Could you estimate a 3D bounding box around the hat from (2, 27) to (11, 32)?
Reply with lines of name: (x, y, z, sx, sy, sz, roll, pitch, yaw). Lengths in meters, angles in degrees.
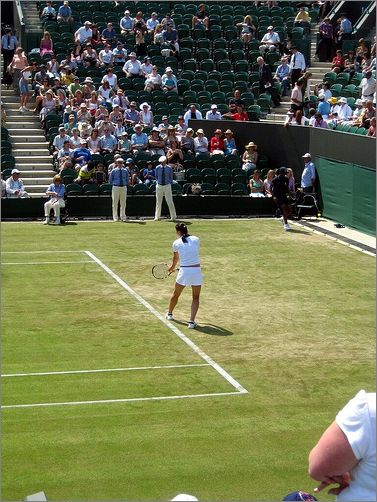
hat: (-6.260, -7.617, 30.050, 0.185, 0.176, 0.200, -7, 40, -20)

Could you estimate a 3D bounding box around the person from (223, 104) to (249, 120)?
person: (1.562, -4.509, 28.202, 0.745, 0.503, 1.144, -2, 12, -16)

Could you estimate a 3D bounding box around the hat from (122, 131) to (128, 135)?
hat: (-1.912, -3.474, 25.699, 0.283, 0.096, 0.361, -2, 6, -12)

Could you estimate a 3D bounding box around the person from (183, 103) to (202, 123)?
person: (0.122, -4.484, 28.613, 0.580, 0.671, 0.779, 1, 13, 0)

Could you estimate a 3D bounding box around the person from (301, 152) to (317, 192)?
person: (3.365, -2.177, 24.467, 0.410, 1.095, 0.476, 3, 14, 6)

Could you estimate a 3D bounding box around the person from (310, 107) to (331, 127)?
person: (3.761, -3.812, 25.107, 0.607, 0.517, 1.411, 3, 12, 8)

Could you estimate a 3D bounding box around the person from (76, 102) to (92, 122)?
person: (-3.174, -4.171, 26.360, 0.444, 0.620, 0.775, 0, 13, -6)

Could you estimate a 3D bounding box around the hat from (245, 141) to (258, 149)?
hat: (1.909, -3.242, 26.666, 0.408, 0.145, 0.418, 1, -14, 4)

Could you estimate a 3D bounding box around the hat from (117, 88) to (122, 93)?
hat: (-2.207, -5.065, 27.608, 0.161, 0.139, 0.197, 2, 22, 0)

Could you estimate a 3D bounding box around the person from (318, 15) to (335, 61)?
person: (4.983, -7.736, 31.862, 0.602, 1.535, 0.851, 4, 14, 8)

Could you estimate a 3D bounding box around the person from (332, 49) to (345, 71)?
person: (5.188, -6.600, 30.255, 0.447, 0.775, 1.256, 4, 13, 9)

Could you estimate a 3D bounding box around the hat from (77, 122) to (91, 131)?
hat: (-3.094, -3.664, 25.705, 0.407, 0.336, 0.101, -2, -10, 4)

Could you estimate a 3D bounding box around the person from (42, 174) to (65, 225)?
person: (-3.543, -1.336, 22.812, 0.527, 1.304, 0.433, 2, 14, 1)

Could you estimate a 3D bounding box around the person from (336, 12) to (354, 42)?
person: (5.726, -8.238, 32.080, 0.595, 1.009, 1.007, 4, 13, 8)

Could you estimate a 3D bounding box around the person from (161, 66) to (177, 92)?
person: (-0.633, -5.875, 29.828, 0.617, 0.842, 0.683, -2, 14, -13)

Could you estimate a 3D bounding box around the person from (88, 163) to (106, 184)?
person: (-2.582, -2.154, 24.367, 0.572, 0.714, 0.444, -4, 26, -16)

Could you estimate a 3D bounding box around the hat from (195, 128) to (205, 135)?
hat: (0.331, -3.658, 26.669, 0.229, 0.098, 0.283, 2, 3, 4)

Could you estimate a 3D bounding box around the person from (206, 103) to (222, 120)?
person: (0.808, -4.576, 28.629, 0.526, 0.458, 0.966, 1, 12, 0)

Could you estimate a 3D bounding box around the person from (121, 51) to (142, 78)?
person: (-1.965, -6.487, 30.336, 0.634, 0.856, 0.475, -2, 14, -14)

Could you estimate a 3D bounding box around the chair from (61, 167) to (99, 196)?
chair: (-2.985, -1.890, 24.014, 0.747, 0.844, 0.511, 23, -16, -24)

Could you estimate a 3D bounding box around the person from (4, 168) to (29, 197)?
person: (-4.599, -1.805, 23.173, 0.582, 0.735, 0.487, -1, 14, -10)

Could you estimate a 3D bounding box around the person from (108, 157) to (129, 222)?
person: (-1.904, -1.632, 23.366, 0.481, 1.754, 0.512, 0, 15, -5)

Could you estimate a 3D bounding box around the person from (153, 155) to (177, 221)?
person: (-0.625, -1.664, 23.514, 0.567, 1.807, 0.721, 1, 14, -1)

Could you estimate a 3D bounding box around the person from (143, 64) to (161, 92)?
person: (-1.262, -5.867, 29.650, 0.568, 0.849, 0.814, 3, 13, 7)

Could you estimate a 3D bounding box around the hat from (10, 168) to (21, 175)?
hat: (-4.633, -2.111, 23.073, 0.234, 0.099, 0.166, -9, -12, 42)

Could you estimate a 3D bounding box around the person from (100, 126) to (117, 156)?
person: (-2.361, -3.257, 25.606, 0.520, 0.782, 0.533, 0, 14, -6)

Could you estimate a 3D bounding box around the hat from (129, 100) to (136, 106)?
hat: (-1.781, -4.612, 27.256, 0.285, 0.100, 0.254, 1, 15, 1)

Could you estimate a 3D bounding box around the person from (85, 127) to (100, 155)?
person: (-2.803, -3.214, 25.382, 0.386, 0.707, 0.697, 0, 13, -7)

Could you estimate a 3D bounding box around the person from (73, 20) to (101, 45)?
person: (-3.663, -7.819, 31.218, 0.784, 0.830, 1.185, 4, 13, 11)

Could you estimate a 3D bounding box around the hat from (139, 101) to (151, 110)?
hat: (-1.325, -4.634, 27.498, 0.380, 0.079, 0.359, 1, -8, -30)

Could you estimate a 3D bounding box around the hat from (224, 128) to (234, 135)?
hat: (1.243, -3.764, 27.453, 0.333, 0.105, 0.335, -1, -10, -2)

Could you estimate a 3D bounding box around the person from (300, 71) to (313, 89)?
person: (3.755, -5.540, 28.255, 0.520, 0.401, 1.401, -2, 1, 1)

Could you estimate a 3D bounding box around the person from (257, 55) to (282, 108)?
person: (2.721, -5.771, 29.705, 0.794, 1.642, 0.944, 1, 14, -4)

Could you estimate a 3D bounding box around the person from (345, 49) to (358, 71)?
person: (5.495, -6.476, 29.716, 0.388, 0.684, 0.927, 4, 13, 8)

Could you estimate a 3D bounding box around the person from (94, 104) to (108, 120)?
person: (-2.704, -4.372, 26.975, 0.405, 0.681, 0.351, 6, -31, -11)

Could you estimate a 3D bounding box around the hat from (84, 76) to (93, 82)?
hat: (-3.251, -5.507, 28.008, 0.344, 0.129, 0.369, -1, 3, 7)

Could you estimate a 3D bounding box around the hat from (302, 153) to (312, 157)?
hat: (3.307, -2.675, 24.313, 0.152, 0.069, 0.219, 2, 4, 39)

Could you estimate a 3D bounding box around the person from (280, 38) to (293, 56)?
person: (3.468, -7.263, 30.937, 0.653, 0.712, 0.665, 3, 29, 7)

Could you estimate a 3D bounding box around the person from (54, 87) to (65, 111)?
person: (-4.049, -4.776, 27.501, 0.366, 0.668, 0.490, 0, 14, -8)

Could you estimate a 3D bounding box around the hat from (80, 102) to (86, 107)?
hat: (-3.178, -4.401, 26.131, 0.153, 0.090, 0.202, 4, -6, -8)

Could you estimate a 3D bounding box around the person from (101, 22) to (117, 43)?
person: (-2.909, -7.903, 31.579, 0.572, 0.730, 0.915, 0, 13, -6)

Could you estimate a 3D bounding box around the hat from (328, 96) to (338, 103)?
hat: (4.384, -4.654, 26.753, 0.442, 0.170, 0.566, 3, 5, 8)

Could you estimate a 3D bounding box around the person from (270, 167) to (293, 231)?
person: (2.430, -1.391, 22.861, 0.556, 1.673, 0.949, 3, 14, 5)

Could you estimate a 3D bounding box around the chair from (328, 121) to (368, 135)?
chair: (4.403, -3.393, 24.164, 0.239, 0.316, 0.935, -5, 18, -27)

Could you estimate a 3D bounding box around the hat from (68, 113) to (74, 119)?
hat: (-3.474, -3.985, 25.784, 0.146, 0.068, 0.199, 6, 15, -19)

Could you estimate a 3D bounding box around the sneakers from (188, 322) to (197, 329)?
sneakers: (0.040, 1.182, 13.982, 0.076, 0.069, 0.172, 3, 8, 7)

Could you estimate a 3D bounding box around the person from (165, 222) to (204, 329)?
person: (-0.089, 0.364, 14.045, 0.576, 1.730, 1.025, 1, 14, -1)

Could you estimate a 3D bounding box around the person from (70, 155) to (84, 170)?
person: (-3.150, -2.505, 24.639, 0.342, 0.342, 0.870, 7, 16, -13)

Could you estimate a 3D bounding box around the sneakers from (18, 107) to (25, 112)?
sneakers: (-5.404, -4.555, 28.062, 0.144, 0.085, 0.177, -5, 19, -22)
